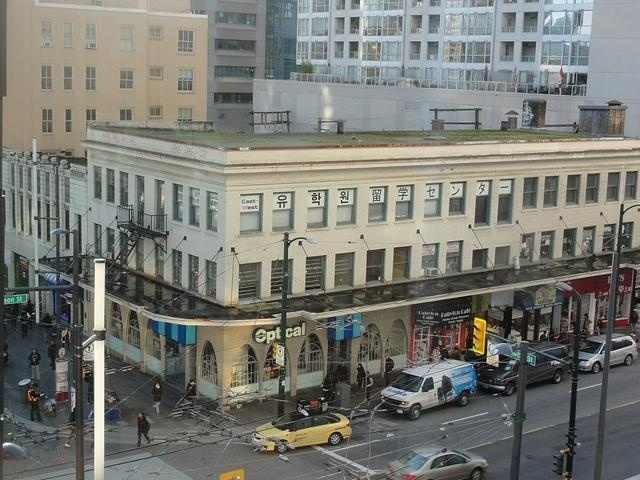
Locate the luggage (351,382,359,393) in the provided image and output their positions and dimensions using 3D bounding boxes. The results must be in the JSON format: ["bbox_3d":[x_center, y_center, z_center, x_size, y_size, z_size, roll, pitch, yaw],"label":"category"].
[{"bbox_3d":[2.209,9.390,78.081,0.372,0.618,0.647,4,-5,-16],"label":"luggage"}]

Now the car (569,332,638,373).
[{"bbox_3d":[19.224,7.553,82.617,4.268,1.762,2.263,-1,2,-25],"label":"car"}]

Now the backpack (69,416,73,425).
[{"bbox_3d":[-14.434,10.501,71.468,0.268,0.491,0.499,3,-9,-25],"label":"backpack"}]

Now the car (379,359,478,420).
[{"bbox_3d":[6.522,9.232,74.993,5.860,2.832,1.561,-6,7,-31],"label":"car"}]
